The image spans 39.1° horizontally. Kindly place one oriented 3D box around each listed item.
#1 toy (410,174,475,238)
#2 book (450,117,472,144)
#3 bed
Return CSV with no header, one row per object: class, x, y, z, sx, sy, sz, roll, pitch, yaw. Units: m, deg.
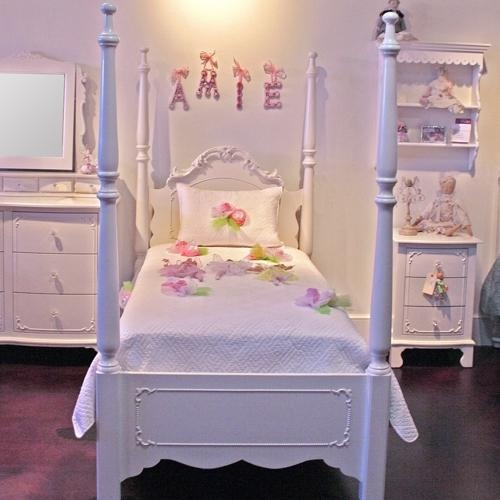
toy,1.102,-0.274,4.271,0.451,0.425,0.323,9,15,30
book,1.246,-0.711,4.175,0.130,0.168,0.090,2,18,8
bed,0.192,0.099,3.201,0.966,1.646,1.787,1,13,0
